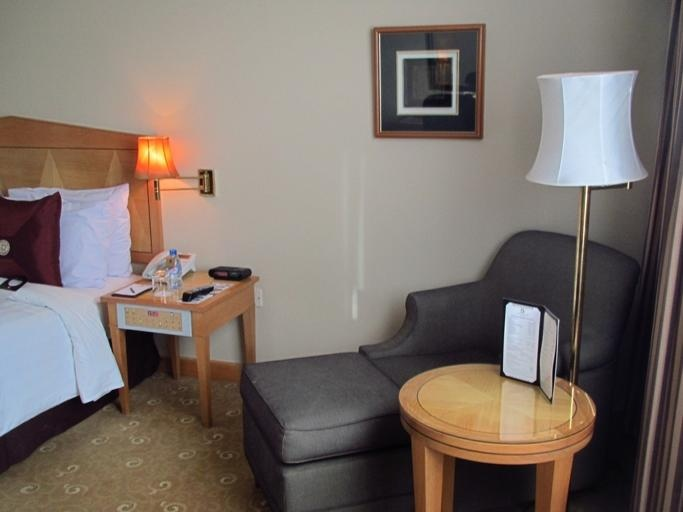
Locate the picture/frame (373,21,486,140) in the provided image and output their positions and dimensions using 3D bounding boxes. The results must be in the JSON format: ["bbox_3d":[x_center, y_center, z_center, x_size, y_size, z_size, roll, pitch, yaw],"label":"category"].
[{"bbox_3d":[0.523,-1.020,3.165,0.618,0.655,0.048,1,12,14],"label":"picture/frame"}]

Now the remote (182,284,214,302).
[{"bbox_3d":[-0.815,0.201,3.139,0.058,0.060,0.189,5,13,21],"label":"remote"}]

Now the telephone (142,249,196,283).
[{"bbox_3d":[-1.055,0.025,3.474,0.200,0.100,0.241,5,16,14],"label":"telephone"}]

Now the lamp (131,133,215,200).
[{"bbox_3d":[-1.124,-0.545,3.497,0.342,0.462,0.506,8,9,36],"label":"lamp"}]

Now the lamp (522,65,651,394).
[{"bbox_3d":[0.999,-0.086,2.311,0.449,1.300,0.218,3,14,21],"label":"lamp"}]

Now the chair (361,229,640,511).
[{"bbox_3d":[0.823,0.447,3.137,1.334,1.571,1.224,8,11,-27],"label":"chair"}]

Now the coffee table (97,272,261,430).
[{"bbox_3d":[-0.939,0.523,3.446,0.713,0.760,0.673,2,13,16],"label":"coffee table"}]
